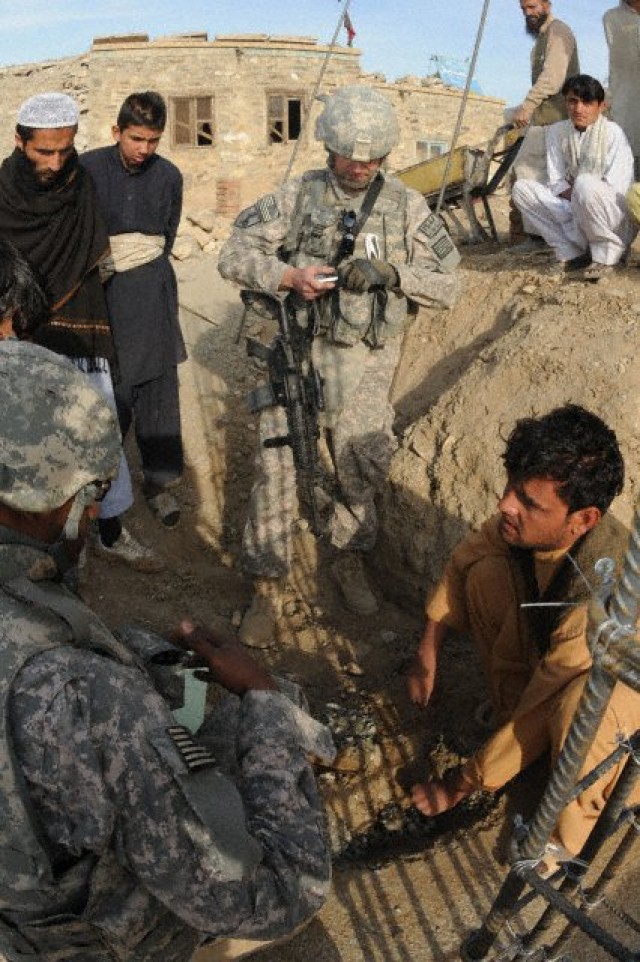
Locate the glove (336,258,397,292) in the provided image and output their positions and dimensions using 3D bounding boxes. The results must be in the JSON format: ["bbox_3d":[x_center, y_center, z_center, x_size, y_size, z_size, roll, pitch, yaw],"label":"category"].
[{"bbox_3d":[0.188,-0.793,2.896,0.243,0.119,0.130,3,30,-4],"label":"glove"}]

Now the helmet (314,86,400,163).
[{"bbox_3d":[0.135,-1.351,2.851,0.307,0.244,0.400,4,30,-2],"label":"helmet"}]

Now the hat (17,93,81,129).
[{"bbox_3d":[-0.959,-1.294,2.647,0.190,0.101,0.149,0,31,-10],"label":"hat"}]

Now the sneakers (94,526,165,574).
[{"bbox_3d":[-0.889,0.348,3.638,0.393,0.173,0.131,22,53,-11],"label":"sneakers"}]

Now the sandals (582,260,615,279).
[{"bbox_3d":[1.601,-1.221,4.396,0.263,0.104,0.092,-15,13,-22],"label":"sandals"}]

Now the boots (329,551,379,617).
[{"bbox_3d":[0.157,0.508,3.664,0.101,0.183,0.281,-25,59,-14],"label":"boots"}]

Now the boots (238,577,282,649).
[{"bbox_3d":[-0.271,0.597,3.459,0.186,0.299,0.114,10,-6,1],"label":"boots"}]

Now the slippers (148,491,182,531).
[{"bbox_3d":[-0.823,0.133,4.000,0.114,0.092,0.236,-19,50,-11],"label":"slippers"}]

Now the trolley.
[{"bbox_3d":[1.323,-2.724,7.076,1.023,0.690,1.010,9,40,47],"label":"trolley"}]
